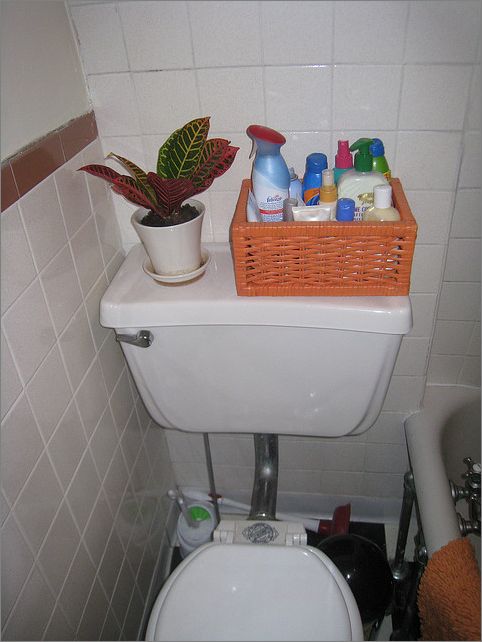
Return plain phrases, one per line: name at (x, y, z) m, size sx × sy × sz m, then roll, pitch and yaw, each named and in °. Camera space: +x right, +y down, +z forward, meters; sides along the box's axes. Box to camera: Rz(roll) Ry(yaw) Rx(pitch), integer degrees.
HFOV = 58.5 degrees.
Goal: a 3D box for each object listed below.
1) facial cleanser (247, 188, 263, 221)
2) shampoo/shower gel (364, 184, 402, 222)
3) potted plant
facial cleanser at (0.021, -0.178, 0.662) m, size 0.011 × 0.039 × 0.043 m, roll -13°, pitch 55°, yaw 5°
shampoo/shower gel at (0.202, -0.165, 0.606) m, size 0.049 × 0.055 × 0.049 m, roll -6°, pitch 37°, yaw 1°
potted plant at (-0.135, -0.176, 0.667) m, size 0.222 × 0.239 × 0.239 m, roll -22°, pitch 34°, yaw -35°
